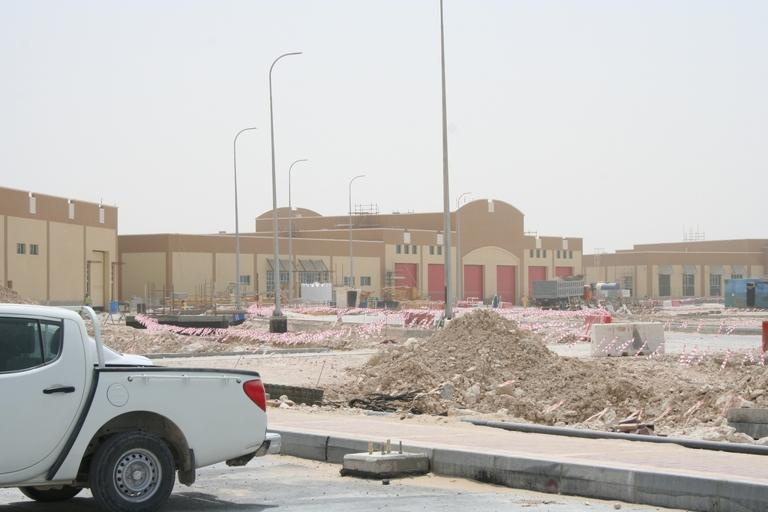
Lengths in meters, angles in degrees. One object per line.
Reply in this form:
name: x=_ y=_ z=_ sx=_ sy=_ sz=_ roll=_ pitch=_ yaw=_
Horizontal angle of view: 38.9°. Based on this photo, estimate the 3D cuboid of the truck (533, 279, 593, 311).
truck: x=14.267 y=3.036 z=86.734 sx=1.889 sy=2.652 sz=6.745 roll=-2 pitch=-3 yaw=27
